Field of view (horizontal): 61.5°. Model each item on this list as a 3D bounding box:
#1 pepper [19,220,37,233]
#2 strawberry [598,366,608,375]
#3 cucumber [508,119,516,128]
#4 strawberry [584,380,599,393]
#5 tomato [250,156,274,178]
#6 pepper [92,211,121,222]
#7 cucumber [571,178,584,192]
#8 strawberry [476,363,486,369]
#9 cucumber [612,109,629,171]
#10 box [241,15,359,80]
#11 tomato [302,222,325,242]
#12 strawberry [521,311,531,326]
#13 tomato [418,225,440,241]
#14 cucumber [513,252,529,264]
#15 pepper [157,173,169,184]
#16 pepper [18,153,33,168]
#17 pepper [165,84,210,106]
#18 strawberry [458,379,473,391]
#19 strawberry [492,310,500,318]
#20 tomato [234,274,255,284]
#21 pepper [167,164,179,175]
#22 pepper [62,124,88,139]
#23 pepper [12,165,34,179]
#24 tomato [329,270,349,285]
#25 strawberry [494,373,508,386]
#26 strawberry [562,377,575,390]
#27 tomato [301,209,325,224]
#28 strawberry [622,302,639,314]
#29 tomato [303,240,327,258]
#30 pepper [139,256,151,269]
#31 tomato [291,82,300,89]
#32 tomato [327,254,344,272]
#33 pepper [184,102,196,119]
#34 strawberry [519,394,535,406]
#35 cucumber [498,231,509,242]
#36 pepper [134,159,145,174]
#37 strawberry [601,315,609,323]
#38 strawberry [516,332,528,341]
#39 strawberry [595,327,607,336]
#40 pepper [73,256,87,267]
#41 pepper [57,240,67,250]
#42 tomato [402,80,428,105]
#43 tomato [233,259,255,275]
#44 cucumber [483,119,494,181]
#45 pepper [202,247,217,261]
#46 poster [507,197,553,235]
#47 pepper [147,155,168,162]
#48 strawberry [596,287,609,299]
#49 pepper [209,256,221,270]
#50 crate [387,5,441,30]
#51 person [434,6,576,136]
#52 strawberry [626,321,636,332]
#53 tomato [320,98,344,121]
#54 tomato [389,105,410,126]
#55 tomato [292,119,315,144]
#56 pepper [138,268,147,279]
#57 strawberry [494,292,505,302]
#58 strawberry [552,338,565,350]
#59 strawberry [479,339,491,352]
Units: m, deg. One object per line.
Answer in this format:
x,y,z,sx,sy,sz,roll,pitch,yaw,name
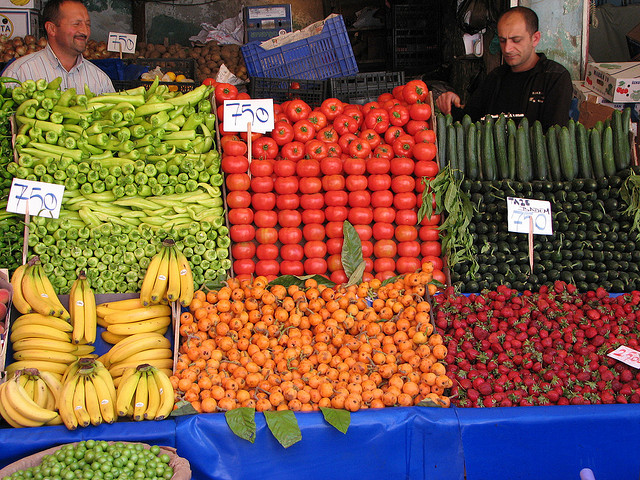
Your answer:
-2.240,-0.111,4.145,0.074,0.080,0.026,9,0,6,pepper
2.003,0.913,3.792,0.042,0.047,0.062,17,7,25,strawberry
1.742,-1.059,4.841,0.057,0.068,0.129,3,15,18,cucumber
1.883,1.016,3.716,0.118,0.066,0.059,-7,15,-20,strawberry
-0.485,-0.619,4.511,0.148,0.143,0.146,-1,4,-35,tomato
-1.679,-0.193,4.252,0.221,0.054,0.056,19,-17,-25,pepper
2.233,-0.481,4.645,0.105,0.089,0.085,-1,0,14,cucumber
1.146,0.894,3.809,0.065,0.029,0.054,3,15,18,strawberry
2.610,-0.871,4.707,0.109,0.545,0.127,-3,-3,11,cucumber
-0.172,-2.327,6.451,1.548,0.631,1.568,-10,28,-13,box
-0.051,-0.066,4.429,0.153,0.156,0.156,0,-1,3,tomato
1.575,0.598,4.088,0.078,0.113,0.082,1,4,6,strawberry
0.933,-0.054,4.666,0.166,0.103,0.120,-9,32,-17,tomato
1.699,0.148,4.581,0.088,0.093,0.130,-36,-8,35,cucumber
-1.263,-0.498,4.326,0.088,0.085,0.043,-3,13,-5,pepper
-2.311,-0.630,4.220,0.095,0.103,0.090,-5,10,-4,pepper
-1.101,-1.262,4.649,0.458,0.161,0.122,-21,36,-26,pepper
1.016,0.995,3.720,0.063,0.068,0.063,1,21,25,strawberry
1.354,0.566,4.112,0.043,0.057,0.045,0,4,6,strawberry
-0.616,0.305,4.338,0.124,0.070,0.061,3,-5,-13,tomato
-1.185,-0.566,4.337,0.071,0.078,0.043,-11,15,16,pepper
-1.967,-0.875,4.309,0.164,0.049,0.059,21,48,8,pepper
-2.329,-0.542,4.212,0.052,0.072,0.133,19,-8,-2,pepper
0.160,0.304,4.451,0.112,0.120,0.114,3,6,26,tomato
1.257,0.959,3.723,0.060,0.036,0.064,4,26,36,strawberry
1.728,0.993,3.727,0.075,0.059,0.055,6,16,27,strawberry
-0.056,-0.200,4.516,0.158,0.122,0.102,2,2,0,tomato
2.441,0.529,4.213,0.082,0.040,0.083,-7,15,-15,strawberry
-0.033,0.074,4.561,0.164,0.152,0.131,0,9,6,tomato
-1.371,0.174,4.198,0.080,0.078,0.081,2,12,-16,pepper
-0.238,-1.526,5.278,0.061,0.041,0.088,2,2,0,tomato
0.125,0.191,4.484,0.126,0.168,0.138,0,1,10,tomato
-1.102,-1.098,4.526,0.085,0.093,0.123,2,-23,-10,pepper
1.393,1.074,3.599,0.052,0.057,0.056,-1,2,9,strawberry
1.558,-0.037,4.553,0.081,0.076,0.030,2,14,14,cucumber
-1.431,-0.583,4.287,0.081,0.091,0.087,2,15,-8,pepper
2.180,0.602,4.090,0.046,0.061,0.049,-1,3,6,strawberry
1.491,0.709,3.946,0.057,0.061,0.079,29,-28,-22,strawberry
2.101,0.676,3.999,0.048,0.051,0.062,-7,10,-43,strawberry
-1.864,0.164,4.163,0.073,0.074,0.076,2,9,1,pepper
-2.015,0.031,4.180,0.055,0.061,0.029,3,-7,-7,pepper
0.868,-1.356,4.882,0.205,0.219,0.218,-4,21,2,tomato
-0.623,0.214,4.399,0.154,0.121,0.145,1,1,-3,tomato
1.484,-0.799,4.704,0.100,0.491,0.251,2,14,17,cucumber
-0.878,0.120,4.291,0.084,0.090,0.122,21,-42,-20,pepper
1.767,-0.206,4.508,0.397,0.311,0.016,5,-12,-6,poster
-1.332,-0.671,4.392,0.150,0.062,0.051,1,14,12,pepper
2.264,0.422,4.311,0.079,0.085,0.083,-3,-27,-7,strawberry
-0.842,0.180,4.299,0.059,0.081,0.082,11,33,-21,pepper
1.699,-3.935,9.409,0.836,0.399,0.141,-1,13,4,crate
1.980,-1.759,5.519,1.154,1.237,1.923,2,15,17,person
2.376,0.657,4.081,0.060,0.087,0.064,-1,0,10,strawberry
0.122,-1.191,4.931,0.182,0.198,0.191,1,-12,2,tomato
0.713,-1.125,4.812,0.162,0.176,0.172,0,13,12,tomato
-0.138,-0.961,4.779,0.174,0.190,0.179,14,-4,5,tomato
-1.383,0.253,4.168,0.075,0.081,0.025,2,-2,-20,pepper
1.422,0.444,4.240,0.049,0.054,0.051,-28,31,-24,strawberry
1.743,0.752,3.904,0.089,0.064,0.054,-2,14,-1,strawberry
1.203,0.764,3.893,0.073,0.062,0.057,-1,4,0,strawberry
